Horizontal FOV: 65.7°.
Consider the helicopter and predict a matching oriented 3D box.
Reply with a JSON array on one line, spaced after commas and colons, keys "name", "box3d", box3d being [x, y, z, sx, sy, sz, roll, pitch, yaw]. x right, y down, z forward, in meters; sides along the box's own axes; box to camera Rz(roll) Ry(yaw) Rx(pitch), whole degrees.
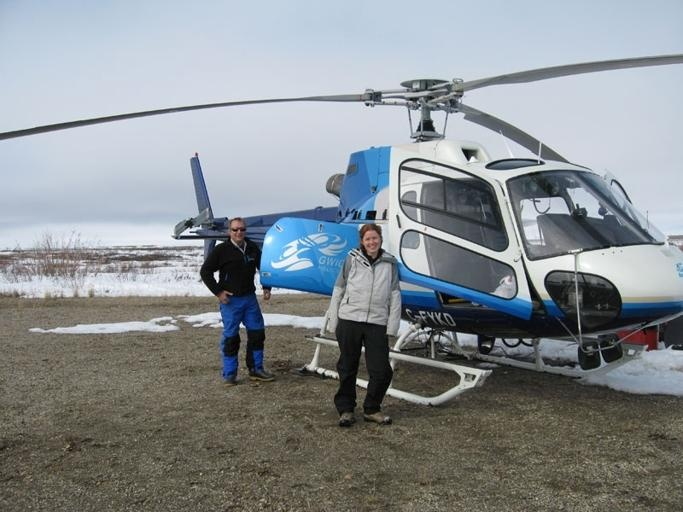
[{"name": "helicopter", "box3d": [0.820, -0.239, 6.508, 5.132, 1.542, 5.182, -4, 4, -44]}]

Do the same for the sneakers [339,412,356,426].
[{"name": "sneakers", "box3d": [0.055, 1.625, 5.311, 0.138, 0.092, 0.234, -1, -1, 11]}]

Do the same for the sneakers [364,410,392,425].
[{"name": "sneakers", "box3d": [0.373, 1.645, 5.394, 0.286, 0.088, 0.109, -5, -6, 26]}]

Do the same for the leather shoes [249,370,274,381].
[{"name": "leather shoes", "box3d": [-1.009, 1.530, 6.716, 0.316, 0.104, 0.126, -2, -6, 10]}]
